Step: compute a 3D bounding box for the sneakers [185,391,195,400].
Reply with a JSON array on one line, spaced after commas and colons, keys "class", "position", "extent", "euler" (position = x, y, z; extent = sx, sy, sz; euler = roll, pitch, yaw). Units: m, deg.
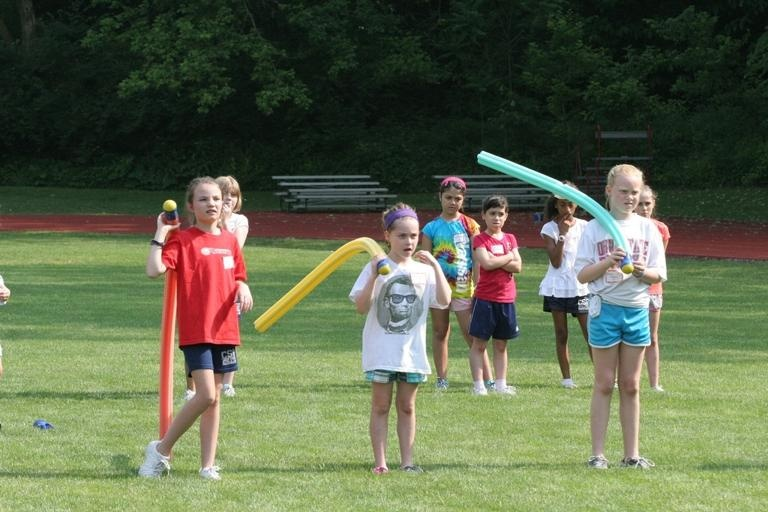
[{"class": "sneakers", "position": [-4.579, 3.261, 34.910], "extent": [0.193, 0.178, 0.456], "euler": [3, -11, -23]}]

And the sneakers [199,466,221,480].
[{"class": "sneakers", "position": [-3.924, 4.833, 33.126], "extent": [0.545, 0.200, 0.251], "euler": [1, 6, 18]}]

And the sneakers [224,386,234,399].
[{"class": "sneakers", "position": [-3.721, 3.227, 35.145], "extent": [0.245, 0.211, 0.279], "euler": [-6, 8, -38]}]
